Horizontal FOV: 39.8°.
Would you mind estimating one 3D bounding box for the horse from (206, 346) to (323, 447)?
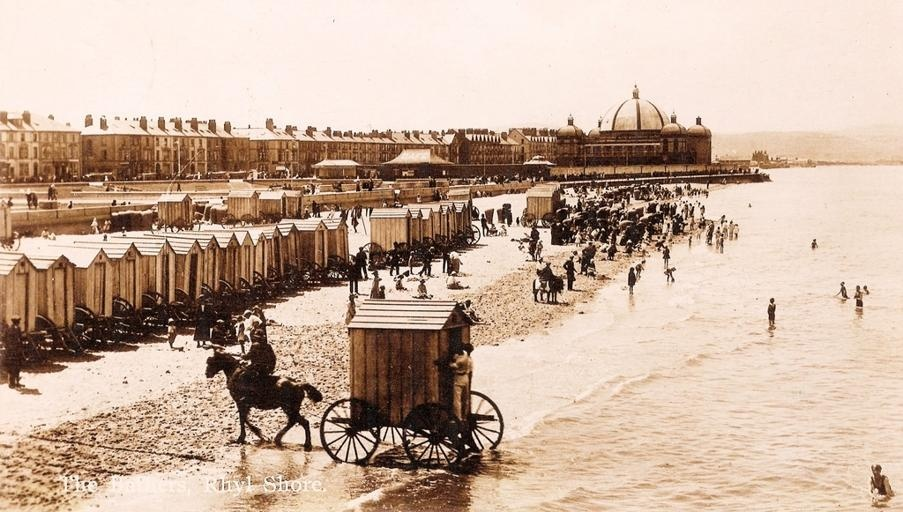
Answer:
[{"bbox_3d":[-9.028,6.884,60.312,6.453,4.157,1.696,7,7,18],"label":"horse"}]

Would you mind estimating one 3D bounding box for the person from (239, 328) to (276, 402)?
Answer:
[{"bbox_3d":[-9.250,5.268,59.926,1.148,3.344,1.158,2,-1,16],"label":"person"}]

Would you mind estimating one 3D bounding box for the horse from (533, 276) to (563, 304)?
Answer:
[{"bbox_3d":[5.970,2.060,78.627,1.785,1.657,1.395,5,13,-1],"label":"horse"}]

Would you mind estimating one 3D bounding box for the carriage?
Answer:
[{"bbox_3d":[-5.239,6.142,60.548,14.644,7.131,4.502,1,2,6],"label":"carriage"}]

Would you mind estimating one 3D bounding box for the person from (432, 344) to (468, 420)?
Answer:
[{"bbox_3d":[0.127,6.280,59.128,1.204,4.016,1.309,1,0,9],"label":"person"}]
